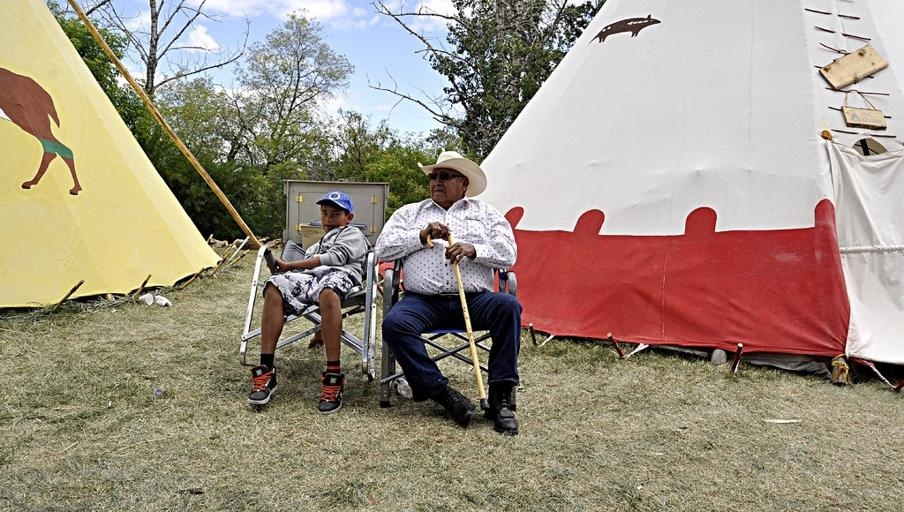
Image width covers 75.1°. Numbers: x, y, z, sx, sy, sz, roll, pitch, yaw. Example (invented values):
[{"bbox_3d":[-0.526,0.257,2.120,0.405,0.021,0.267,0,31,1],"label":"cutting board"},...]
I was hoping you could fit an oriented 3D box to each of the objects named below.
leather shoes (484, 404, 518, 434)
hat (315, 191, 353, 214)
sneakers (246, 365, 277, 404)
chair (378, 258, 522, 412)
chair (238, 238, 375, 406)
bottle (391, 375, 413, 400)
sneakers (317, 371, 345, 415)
[{"bbox_3d":[0.413,1.349,4.980,0.286,0.215,0.234,2,5,2],"label":"leather shoes"},{"bbox_3d":[-1.093,-0.542,5.899,0.226,0.170,0.301,10,-17,20],"label":"hat"},{"bbox_3d":[-1.666,1.116,5.158,0.192,0.320,0.230,2,5,1],"label":"sneakers"},{"bbox_3d":[-0.067,0.689,5.382,1.157,1.247,0.863,2,5,1],"label":"chair"},{"bbox_3d":[-1.281,0.499,5.459,0.884,1.578,0.948,2,5,1],"label":"chair"},{"bbox_3d":[-0.460,1.209,5.387,0.177,0.081,0.268,-9,39,-2],"label":"bottle"},{"bbox_3d":[-1.058,1.168,5.124,0.193,0.329,0.149,1,5,-13],"label":"sneakers"}]
